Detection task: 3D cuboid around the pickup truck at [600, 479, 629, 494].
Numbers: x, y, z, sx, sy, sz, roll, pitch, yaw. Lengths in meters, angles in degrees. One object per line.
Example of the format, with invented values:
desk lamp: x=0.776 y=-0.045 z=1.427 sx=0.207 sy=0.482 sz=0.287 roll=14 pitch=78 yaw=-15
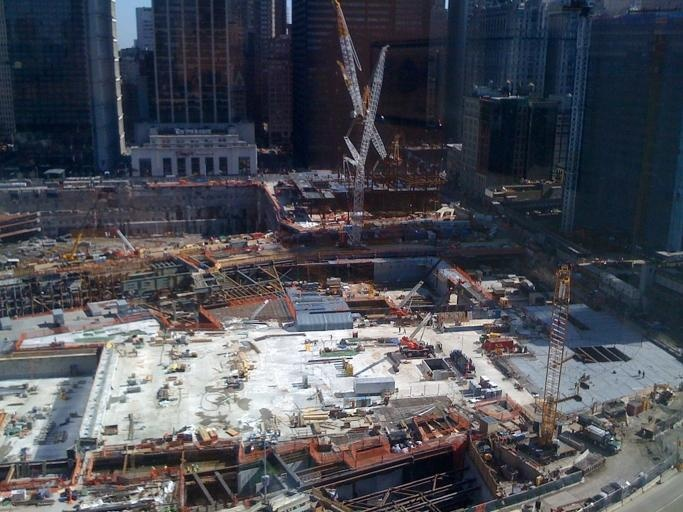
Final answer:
pickup truck: x=20.394 y=17.300 z=54.792 sx=2.482 sy=0.639 sz=1.558 roll=-3 pitch=-19 yaw=-36
